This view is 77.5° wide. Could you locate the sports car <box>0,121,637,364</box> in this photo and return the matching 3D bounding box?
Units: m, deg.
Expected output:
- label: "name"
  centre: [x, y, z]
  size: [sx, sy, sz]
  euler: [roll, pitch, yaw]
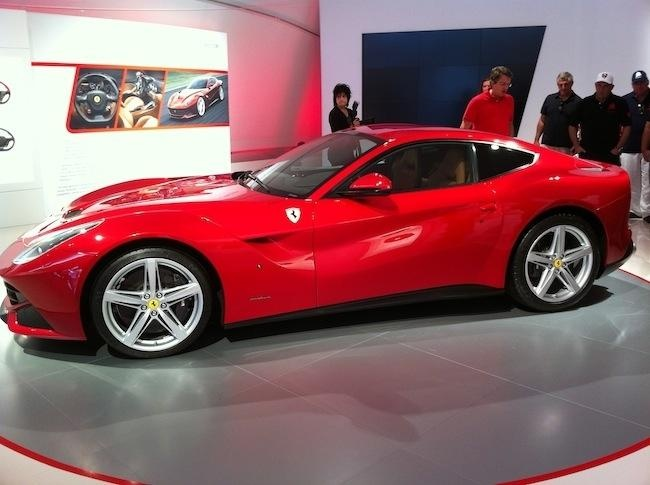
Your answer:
- label: "sports car"
  centre: [0.114, -0.017, 3.704]
  size: [4.608, 1.445, 2.227]
  euler: [0, 9, -12]
